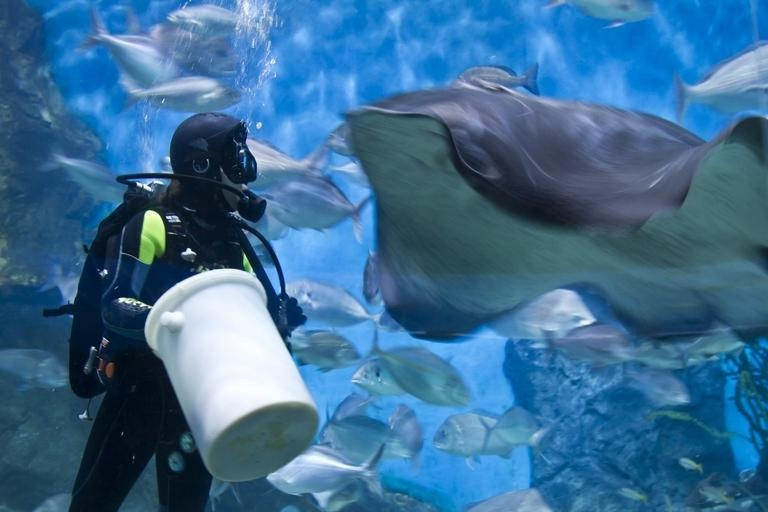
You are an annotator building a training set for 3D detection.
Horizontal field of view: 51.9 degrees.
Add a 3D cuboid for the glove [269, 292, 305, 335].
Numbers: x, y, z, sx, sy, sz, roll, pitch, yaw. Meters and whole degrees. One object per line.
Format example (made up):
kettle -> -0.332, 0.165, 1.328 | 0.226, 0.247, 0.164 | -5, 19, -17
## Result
glove -> -0.768, 0.453, 6.263 | 0.304, 0.312, 0.089 | -26, 20, -32
